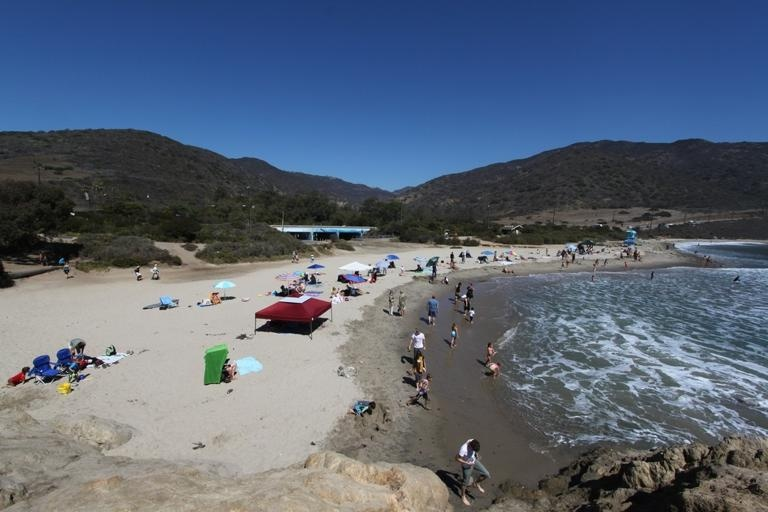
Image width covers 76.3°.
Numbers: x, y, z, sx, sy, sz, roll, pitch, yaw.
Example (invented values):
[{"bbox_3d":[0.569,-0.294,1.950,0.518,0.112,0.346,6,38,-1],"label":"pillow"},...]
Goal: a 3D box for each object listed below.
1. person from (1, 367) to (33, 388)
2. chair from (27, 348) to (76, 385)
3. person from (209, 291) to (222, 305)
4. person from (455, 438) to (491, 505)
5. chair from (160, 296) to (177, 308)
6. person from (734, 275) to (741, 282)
[{"bbox_3d":[-18.082,5.916,24.247,0.738,0.791,0.993,1,6,28],"label":"person"},{"bbox_3d":[-16.620,5.492,24.887,2.328,1.530,1.634,1,8,23],"label":"chair"},{"bbox_3d":[-11.734,2.974,34.070,0.673,0.720,0.848,-3,6,-16],"label":"person"},{"bbox_3d":[3.787,9.182,21.138,1.359,2.709,1.014,-6,8,-29],"label":"person"},{"bbox_3d":[-14.647,3.101,33.421,1.097,0.653,1.530,-3,5,-16],"label":"chair"},{"bbox_3d":[36.010,2.328,49.921,0.346,0.303,1.137,-11,5,42],"label":"person"}]
